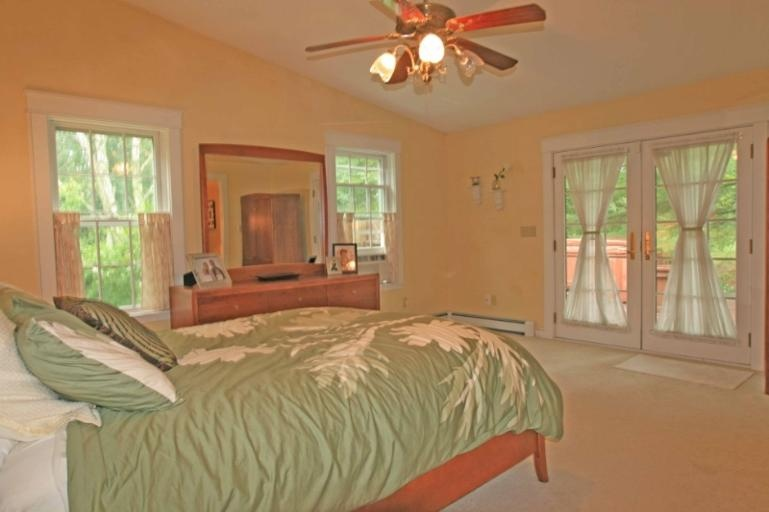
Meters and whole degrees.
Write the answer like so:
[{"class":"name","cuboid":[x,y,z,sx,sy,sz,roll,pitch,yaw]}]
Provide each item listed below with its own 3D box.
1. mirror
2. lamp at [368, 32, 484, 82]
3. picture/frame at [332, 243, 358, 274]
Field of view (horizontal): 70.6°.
[{"class":"mirror","cuboid":[-1.361,-0.491,5.829,1.507,1.375,0.106,-1,0,-42]},{"class":"lamp","cuboid":[0.289,-1.507,4.235,0.651,0.320,0.565,-10,13,-32]},{"class":"picture/frame","cuboid":[-0.447,0.043,6.014,0.330,0.273,0.022,-2,-14,-31]}]
